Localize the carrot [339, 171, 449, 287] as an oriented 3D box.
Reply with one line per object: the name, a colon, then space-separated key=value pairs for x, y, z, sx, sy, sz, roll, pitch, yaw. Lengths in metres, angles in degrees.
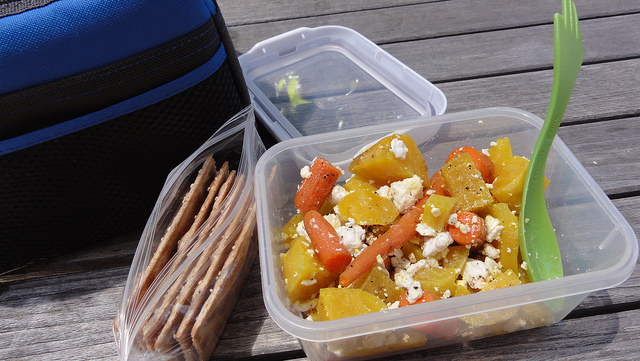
carrot: x=0.243 y=0.203 z=1.988 sx=0.103 sy=0.087 sz=0.592 roll=27 pitch=33 yaw=26

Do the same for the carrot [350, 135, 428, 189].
carrot: x=0.242 y=-0.067 z=2.032 sx=0.230 sy=0.110 sz=0.177 roll=-9 pitch=80 yaw=12

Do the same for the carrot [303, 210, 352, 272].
carrot: x=0.012 y=0.191 z=1.964 sx=0.116 sy=0.094 sz=0.235 roll=-24 pitch=55 yaw=-15

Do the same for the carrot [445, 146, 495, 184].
carrot: x=0.540 y=-0.048 z=2.109 sx=0.143 sy=0.130 sz=0.127 roll=-23 pitch=63 yaw=28

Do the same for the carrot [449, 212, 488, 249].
carrot: x=0.501 y=0.170 z=1.962 sx=0.126 sy=0.107 sz=0.103 roll=19 pitch=70 yaw=17

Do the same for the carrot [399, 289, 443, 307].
carrot: x=0.321 y=0.369 z=1.864 sx=0.134 sy=0.097 sz=0.066 roll=0 pitch=66 yaw=9

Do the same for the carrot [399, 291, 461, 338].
carrot: x=0.355 y=0.418 z=1.870 sx=0.139 sy=0.063 sz=0.174 roll=-15 pitch=35 yaw=-11
